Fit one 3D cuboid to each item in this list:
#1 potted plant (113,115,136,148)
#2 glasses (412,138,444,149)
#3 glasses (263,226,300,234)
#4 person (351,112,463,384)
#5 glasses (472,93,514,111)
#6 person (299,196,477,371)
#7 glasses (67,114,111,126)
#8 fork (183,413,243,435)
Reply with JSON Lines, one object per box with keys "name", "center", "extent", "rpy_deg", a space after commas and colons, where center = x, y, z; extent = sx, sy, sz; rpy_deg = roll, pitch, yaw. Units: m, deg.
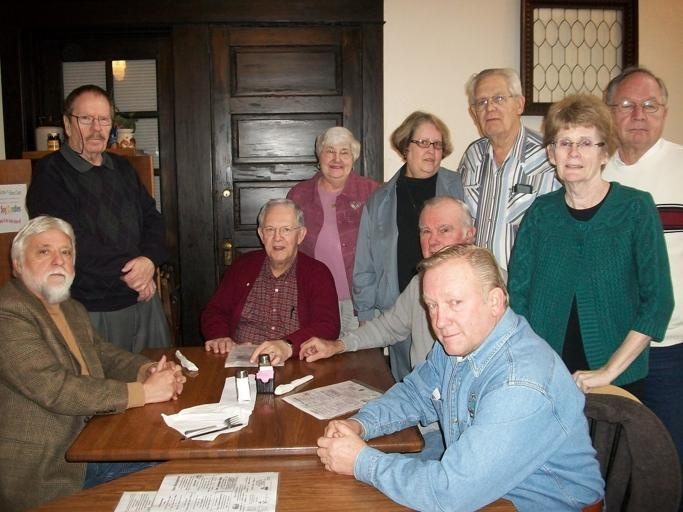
{"name": "potted plant", "center": [-1.698, -0.963, 4.316], "extent": [0.174, 0.210, 0.194], "rpy_deg": [4, 16, -10]}
{"name": "glasses", "center": [0.528, -0.688, 3.372], "extent": [0.199, 0.058, 0.072], "rpy_deg": [0, 13, 3]}
{"name": "glasses", "center": [-0.347, -0.157, 3.156], "extent": [0.196, 0.042, 0.057], "rpy_deg": [-2, 13, -7]}
{"name": "person", "center": [0.477, 0.100, 3.563], "extent": [0.780, 1.965, 0.616], "rpy_deg": [-3, 18, -3]}
{"name": "glasses", "center": [0.871, -0.881, 3.169], "extent": [0.221, 0.081, 0.101], "rpy_deg": [4, 13, 21]}
{"name": "person", "center": [0.244, 0.148, 2.910], "extent": [0.867, 1.226, 0.459], "rpy_deg": [14, 19, 40]}
{"name": "glasses", "center": [-1.463, -0.797, 3.212], "extent": [0.220, 0.066, 0.082], "rpy_deg": [-6, 14, -24]}
{"name": "fork", "center": [-0.477, 0.658, 2.158], "extent": [0.268, 0.030, 0.071], "rpy_deg": [-7, 27, -22]}
